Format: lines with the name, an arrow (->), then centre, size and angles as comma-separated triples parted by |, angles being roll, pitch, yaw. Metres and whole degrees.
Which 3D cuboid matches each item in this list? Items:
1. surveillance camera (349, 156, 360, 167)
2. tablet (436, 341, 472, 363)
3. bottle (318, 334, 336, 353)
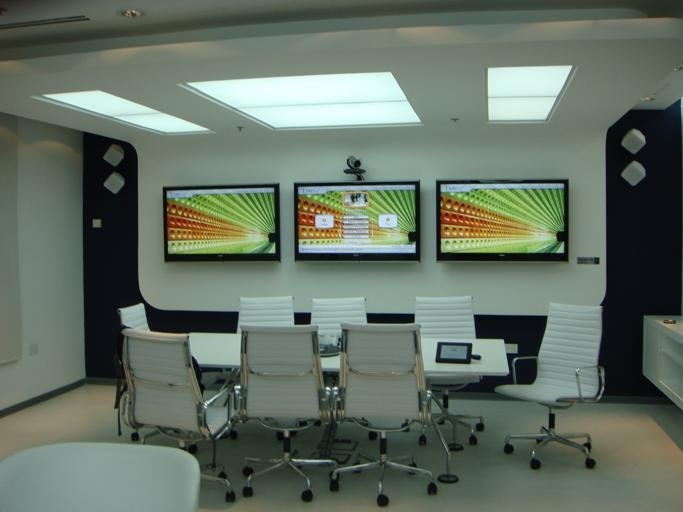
surveillance camera -> 0.161, -1.179, 7.155 | 0.176, 0.171, 0.203 | 0, 7, 2
tablet -> 1.022, 0.871, 5.183 | 0.316, 0.121, 0.344 | 0, 7, 8
bottle -> -0.145, 0.853, 5.522 | 0.200, 0.077, 0.205 | 1, 1, 0
